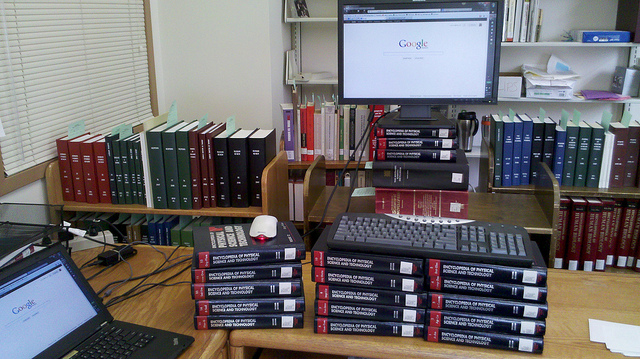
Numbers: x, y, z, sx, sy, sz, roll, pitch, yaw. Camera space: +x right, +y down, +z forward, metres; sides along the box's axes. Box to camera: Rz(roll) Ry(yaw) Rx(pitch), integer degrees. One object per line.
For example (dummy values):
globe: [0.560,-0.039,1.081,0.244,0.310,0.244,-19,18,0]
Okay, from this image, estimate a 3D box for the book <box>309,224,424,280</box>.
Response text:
book: [0.237,0.295,2.169,0.552,0.104,0.570,1,15,15]

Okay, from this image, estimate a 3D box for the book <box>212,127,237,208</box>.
book: [-0.582,-0.036,2.797,0.097,0.428,0.021,-1,12,8]

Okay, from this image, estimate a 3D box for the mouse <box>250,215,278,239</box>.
mouse: [-0.246,0.196,2.076,0.126,0.056,0.176,2,28,-3]
